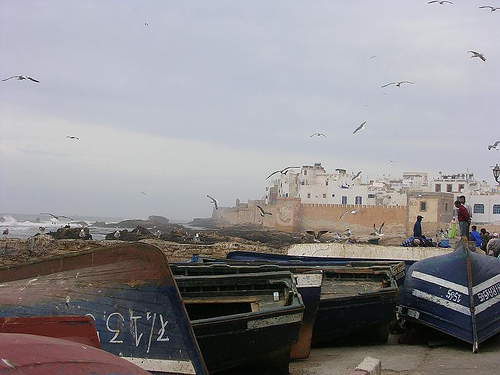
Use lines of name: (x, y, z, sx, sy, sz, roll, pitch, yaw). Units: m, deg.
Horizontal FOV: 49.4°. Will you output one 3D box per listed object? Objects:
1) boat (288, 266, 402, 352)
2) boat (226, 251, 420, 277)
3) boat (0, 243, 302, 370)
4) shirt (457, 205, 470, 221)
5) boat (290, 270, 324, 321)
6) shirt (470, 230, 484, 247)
boat: (2.040, 2.279, 10.211, 2.293, 0.782, 1.496, 0, -1, -20)
boat: (1.847, 1.831, 13.039, 5.612, 0.695, 1.093, 1, -6, 6)
boat: (-1.185, 1.513, 6.769, 3.856, 1.012, 1.902, 2, -8, -1)
shirt: (5.498, 0.669, 13.975, 0.311, 0.421, 0.512, 4, 1, 41)
boat: (0.955, 1.717, 8.698, 0.492, 0.685, 0.315, 7, 8, 38)
shirt: (6.829, 1.565, 16.390, 0.332, 0.385, 0.532, -9, -42, 48)
